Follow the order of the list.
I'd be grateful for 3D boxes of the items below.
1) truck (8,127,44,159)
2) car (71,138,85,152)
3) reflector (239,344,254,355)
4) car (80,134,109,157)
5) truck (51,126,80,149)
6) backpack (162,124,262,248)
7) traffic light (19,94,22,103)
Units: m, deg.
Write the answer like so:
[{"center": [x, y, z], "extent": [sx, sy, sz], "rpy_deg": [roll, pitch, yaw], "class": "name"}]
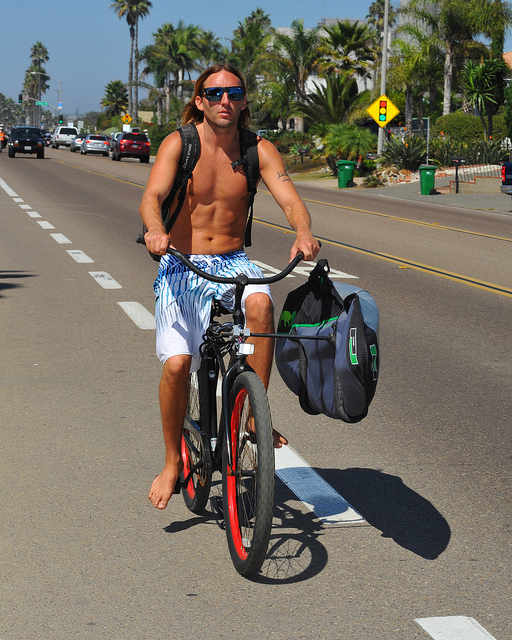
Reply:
[{"center": [-16.854, -13.118, 49.714], "extent": [1.706, 1.556, 3.395], "rpy_deg": [-2, 5, -17], "class": "truck"}, {"center": [-17.219, -16.792, 65.484], "extent": [1.175, 0.856, 2.473], "rpy_deg": [-2, 14, -11], "class": "car"}, {"center": [-0.034, 0.101, 2.361], "extent": [0.049, 0.036, 0.056], "rpy_deg": [1, 7, -3], "class": "reflector"}, {"center": [-14.076, -15.295, 59.802], "extent": [2.042, 1.974, 2.360], "rpy_deg": [-4, 9, -40], "class": "car"}, {"center": [-20.811, -20.094, 74.338], "extent": [1.935, 1.627, 3.464], "rpy_deg": [-3, 20, -13], "class": "truck"}, {"center": [-0.191, -0.654, 3.034], "extent": [0.420, 0.517, 0.342], "rpy_deg": [6, 30, -3], "class": "backpack"}, {"center": [-30.523, -28.735, 88.476], "extent": [0.367, 0.797, 1.242], "rpy_deg": [-1, 7, -22], "class": "traffic light"}]
